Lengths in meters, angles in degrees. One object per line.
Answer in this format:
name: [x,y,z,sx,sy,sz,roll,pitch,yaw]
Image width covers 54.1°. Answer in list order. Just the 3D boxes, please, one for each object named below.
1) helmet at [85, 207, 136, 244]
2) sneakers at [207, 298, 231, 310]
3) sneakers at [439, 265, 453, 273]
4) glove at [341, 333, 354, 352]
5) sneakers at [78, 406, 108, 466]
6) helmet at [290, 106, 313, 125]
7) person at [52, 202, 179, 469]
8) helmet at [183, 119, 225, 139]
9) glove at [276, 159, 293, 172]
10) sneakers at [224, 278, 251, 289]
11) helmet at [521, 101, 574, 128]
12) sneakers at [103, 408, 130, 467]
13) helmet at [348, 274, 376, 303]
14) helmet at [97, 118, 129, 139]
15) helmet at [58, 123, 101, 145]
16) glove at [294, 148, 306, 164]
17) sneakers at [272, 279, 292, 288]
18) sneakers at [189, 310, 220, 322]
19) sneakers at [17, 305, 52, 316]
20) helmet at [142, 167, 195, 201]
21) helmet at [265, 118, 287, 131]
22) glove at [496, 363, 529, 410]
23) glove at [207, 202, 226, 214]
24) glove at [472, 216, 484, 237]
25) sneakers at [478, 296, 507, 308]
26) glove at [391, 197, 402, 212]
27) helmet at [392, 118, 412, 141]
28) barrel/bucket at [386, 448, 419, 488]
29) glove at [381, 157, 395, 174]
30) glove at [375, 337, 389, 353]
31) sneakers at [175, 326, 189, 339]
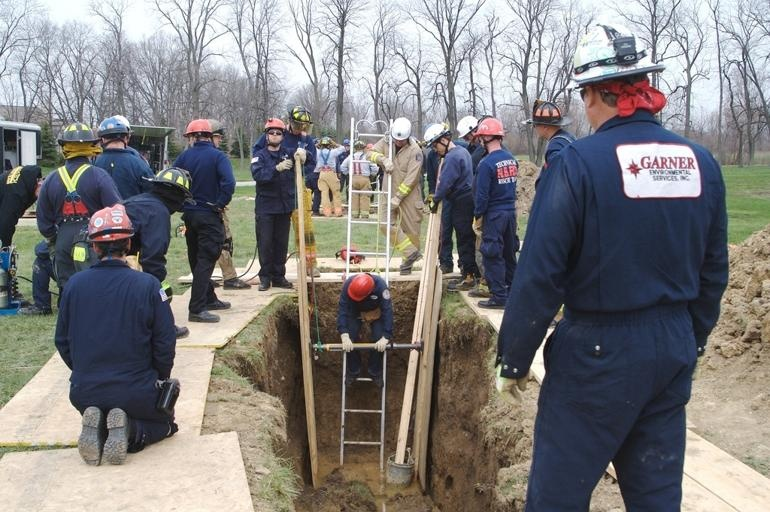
helmet: [-2.654,-0.346,7.262,0.448,0.314,0.595,-8,13,-17]
sneakers: [-2.283,0.650,10.425,0.339,0.143,0.116,-4,6,-24]
sneakers: [1.009,0.193,12.133,0.154,0.138,0.127,-4,7,3]
glove: [-0.516,1.191,10.530,0.172,0.238,0.288,-2,6,-7]
sneakers: [-2.683,1.621,6.943,0.212,0.570,0.252,2,-7,1]
helmet: [-1.226,-2.059,10.963,0.317,0.261,0.481,-2,6,-7]
person: [-2.524,0.728,7.090,1.035,2.347,0.552,-4,7,-24]
helmet: [-2.583,-1.791,10.430,0.446,0.247,0.587,-11,19,-37]
glove: [-1.416,-1.296,10.702,0.178,0.106,0.093,-22,16,33]
sneakers: [-2.236,0.397,11.452,0.418,0.188,0.162,-1,2,-5]
helmet: [1.979,-1.699,9.202,0.475,0.221,0.345,12,26,37]
sneakers: [-2.462,1.653,6.975,0.215,0.523,0.223,3,-8,-1]
helmet: [-0.314,0.409,10.446,0.307,0.389,0.189,31,-10,5]
helmet: [-3.339,-1.609,9.166,0.302,0.280,0.263,-11,6,41]
helmet: [-3.549,-1.422,8.656,0.397,0.276,0.482,-4,6,-23]
glove: [-1.153,-1.387,10.326,0.149,0.200,0.071,-2,8,-21]
sneakers: [-1.561,0.392,11.564,0.316,0.124,0.128,2,7,17]
sneakers: [-2.358,0.780,9.876,0.396,0.169,0.155,0,3,-6]
sneakers: [-4.777,0.712,10.243,0.431,0.178,0.161,-1,3,6]
helmet: [-2.452,-0.862,8.605,0.481,0.242,0.360,6,14,-26]
helmet: [-1.547,-1.896,10.760,0.339,0.169,0.297,-5,7,-31]
glove: [0.989,1.023,5.948,0.301,0.396,0.157,4,17,0]
glove: [-2.223,-0.643,9.917,0.179,0.096,0.135,27,-5,17]
glove: [1.304,-0.426,10.443,0.156,0.206,0.119,-3,11,-22]
sneakers: [1.510,0.615,10.480,0.361,0.154,0.149,6,7,30]
glove: [0.179,-0.828,11.552,0.139,0.181,0.081,-2,2,1]
helmet: [0.252,-1.968,11.416,0.248,0.355,0.138,8,-6,-3]
barrel/bucket: [0.254,3.050,10.901,0.373,0.449,0.474,5,6,25]
glove: [0.065,-1.366,11.273,0.186,0.220,0.220,2,37,8]
glove: [-0.032,1.221,10.546,0.212,0.194,0.280,-2,6,-1]
sneakers: [-2.516,0.923,9.290,0.107,0.133,0.301,-8,-12,1]
